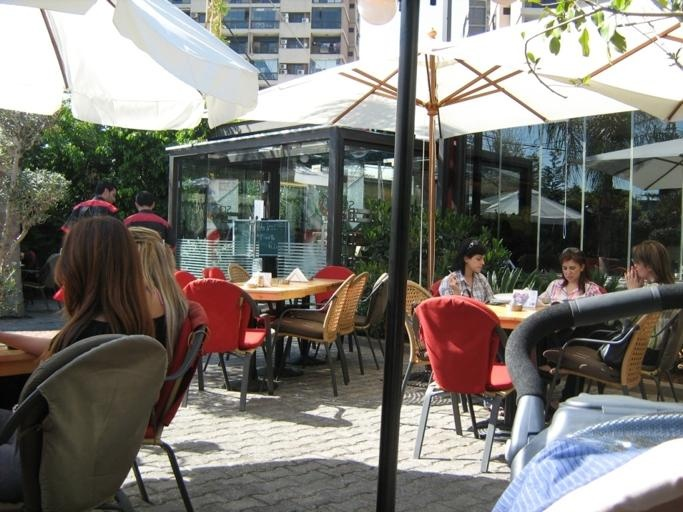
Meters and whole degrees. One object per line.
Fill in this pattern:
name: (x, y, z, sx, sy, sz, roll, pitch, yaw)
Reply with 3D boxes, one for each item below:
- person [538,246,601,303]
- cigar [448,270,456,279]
person: (2.310, 0.225, 5.936, 0.355, 0.566, 0.724, 7, -7, -40)
cigar: (1.089, 0.187, 5.877, 0.066, 0.077, 0.045, -9, 14, 3)
